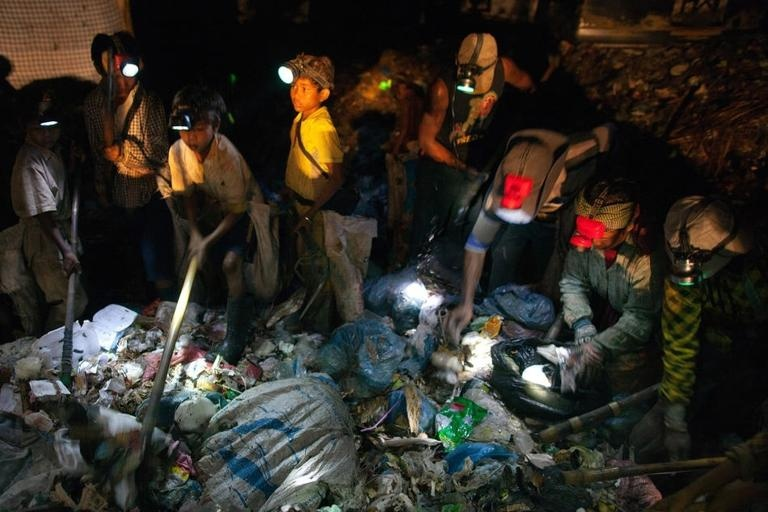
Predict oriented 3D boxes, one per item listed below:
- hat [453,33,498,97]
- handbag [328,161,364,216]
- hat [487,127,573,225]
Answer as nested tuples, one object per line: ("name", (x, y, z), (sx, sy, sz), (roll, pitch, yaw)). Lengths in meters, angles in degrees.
("hat", (0.765, -1.562, 4.769), (0.334, 0.459, 0.193), (3, 20, 8))
("handbag", (-0.342, -0.628, 5.345), (0.161, 0.433, 0.320), (2, 30, -4))
("hat", (1.224, -0.655, 4.778), (0.553, 0.711, 0.274), (32, 25, 28))
